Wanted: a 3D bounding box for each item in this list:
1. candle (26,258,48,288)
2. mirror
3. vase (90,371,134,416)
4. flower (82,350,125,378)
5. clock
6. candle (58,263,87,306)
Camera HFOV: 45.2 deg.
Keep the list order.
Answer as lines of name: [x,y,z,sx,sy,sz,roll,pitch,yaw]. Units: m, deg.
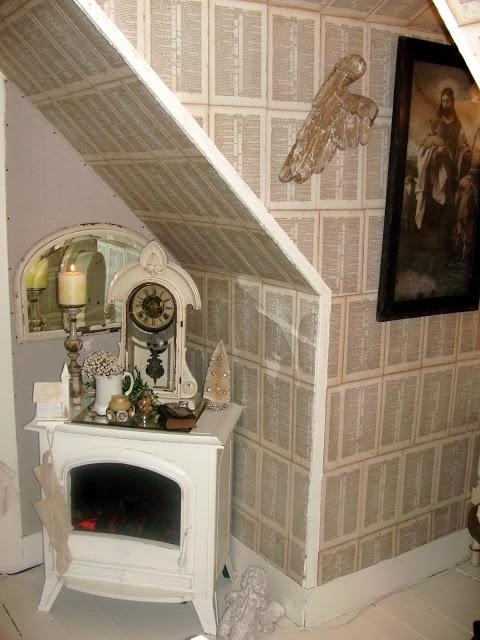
candle: [-1.078,-0.242,3.066,0.018,0.167,0.125,8,10,39]
mirror: [-0.854,-0.201,3.047,0.662,0.456,0.031,-15,23,-41]
vase: [-0.588,0.322,2.802,0.164,0.159,0.118,8,16,12]
flower: [-0.663,0.213,2.749,0.147,0.091,0.148,11,13,27]
clock: [-0.421,0.017,2.839,0.447,0.796,0.181,1,7,-2]
candle: [-0.845,-0.145,2.854,0.155,0.177,0.107,2,7,2]
